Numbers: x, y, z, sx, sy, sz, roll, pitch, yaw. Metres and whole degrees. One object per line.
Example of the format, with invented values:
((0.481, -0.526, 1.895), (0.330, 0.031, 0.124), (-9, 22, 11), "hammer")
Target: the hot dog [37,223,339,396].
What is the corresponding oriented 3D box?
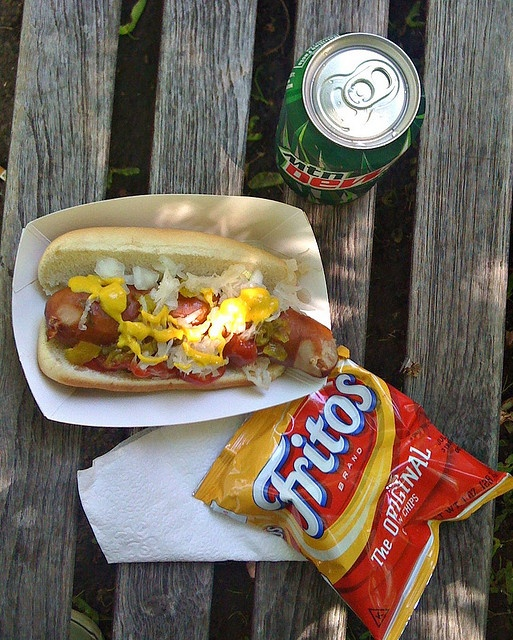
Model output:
((-0.276, -0.043, 2.542), (1.101, 0.369, 0.615), (-2, 85, 0), "hot dog")
